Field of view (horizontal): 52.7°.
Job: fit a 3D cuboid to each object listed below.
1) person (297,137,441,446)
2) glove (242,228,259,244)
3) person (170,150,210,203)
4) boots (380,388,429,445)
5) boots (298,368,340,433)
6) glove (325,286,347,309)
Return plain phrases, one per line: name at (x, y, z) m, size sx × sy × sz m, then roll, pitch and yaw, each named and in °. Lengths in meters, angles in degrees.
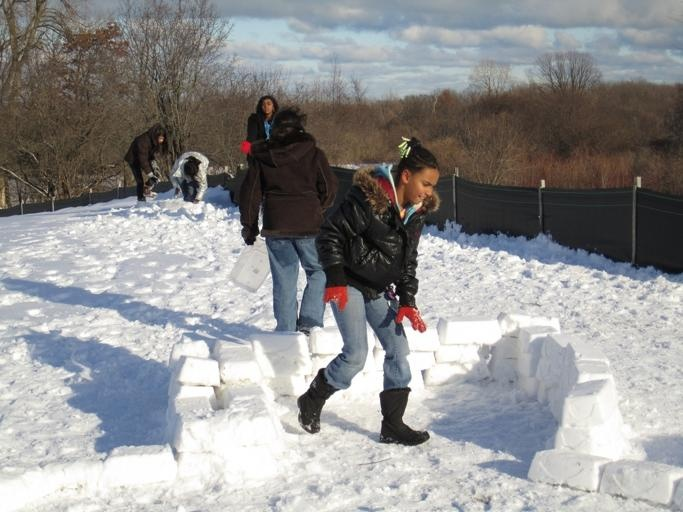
person at (0.270, 0.334, 6.038) m, size 1.209 × 2.615 × 0.642 m, roll -2°, pitch 14°, yaw 1°
glove at (-1.021, -0.222, 7.742) m, size 0.143 × 0.199 × 0.083 m, roll 4°, pitch 14°, yaw -8°
person at (-3.365, -1.792, 15.505) m, size 0.599 × 1.095 × 1.223 m, roll -12°, pitch 19°, yaw -31°
boots at (0.566, 1.427, 6.135) m, size 0.422 × 0.522 × 0.258 m, roll -2°, pitch 0°, yaw 4°
boots at (-0.205, 1.354, 6.198) m, size 0.190 × 0.476 × 0.464 m, roll 11°, pitch 19°, yaw -13°
glove at (-0.040, 0.344, 5.851) m, size 0.187 × 0.221 × 0.150 m, roll 0°, pitch 16°, yaw 10°
